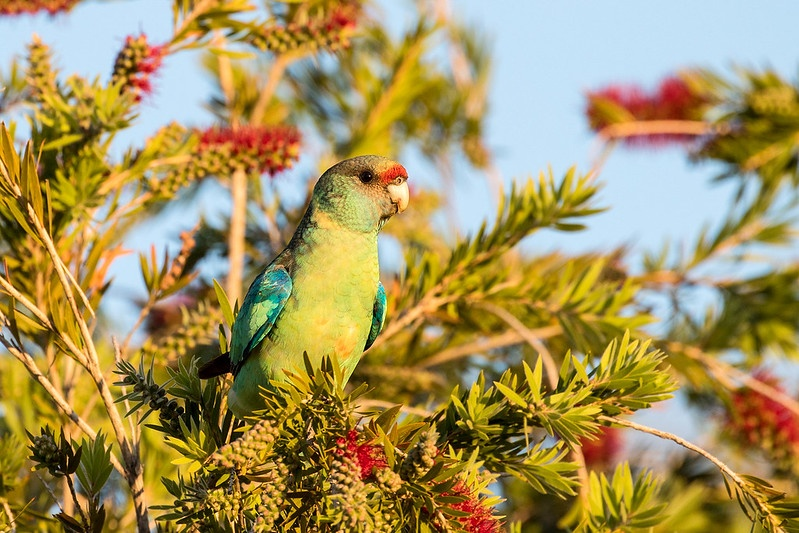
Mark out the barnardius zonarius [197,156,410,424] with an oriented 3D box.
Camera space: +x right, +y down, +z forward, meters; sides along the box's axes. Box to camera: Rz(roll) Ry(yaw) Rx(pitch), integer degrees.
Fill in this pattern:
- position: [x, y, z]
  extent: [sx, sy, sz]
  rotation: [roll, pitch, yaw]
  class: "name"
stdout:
- position: [-0.396, 0.068, 6.672]
  extent: [0.560, 1.108, 1.014]
  rotation: [25, 22, 27]
  class: "barnardius zonarius"
